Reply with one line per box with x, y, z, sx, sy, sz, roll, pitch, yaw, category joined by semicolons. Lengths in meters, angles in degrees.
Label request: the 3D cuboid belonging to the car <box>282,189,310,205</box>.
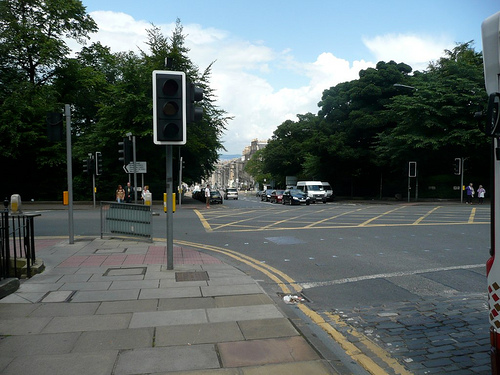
4.102;0.879;36.278;1.323;1.297;3.655;-2;1;-14;car

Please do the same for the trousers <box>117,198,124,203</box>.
-7.491;0.712;23.477;0.290;0.488;0.283;-2;4;-11;trousers

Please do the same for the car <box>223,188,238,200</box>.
-2.759;0.877;57.547;1.466;0.969;2.510;0;5;-9;car

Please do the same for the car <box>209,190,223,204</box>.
-3.487;0.975;41.289;1.261;1.007;2.730;0;-4;-8;car

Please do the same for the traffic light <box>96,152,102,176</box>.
-8.073;-1.312;21.701;0.253;1.140;0.713;-2;1;-22;traffic light

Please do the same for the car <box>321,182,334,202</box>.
8.074;0.297;41.922;1.235;1.149;2.159;0;0;3;car

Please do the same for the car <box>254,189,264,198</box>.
1.584;1.093;74.876;1.268;0.983;2.699;-1;-4;-8;car

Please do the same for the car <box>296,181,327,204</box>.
6.151;0.331;39.672;1.576;1.382;2.749;-1;-2;-8;car
